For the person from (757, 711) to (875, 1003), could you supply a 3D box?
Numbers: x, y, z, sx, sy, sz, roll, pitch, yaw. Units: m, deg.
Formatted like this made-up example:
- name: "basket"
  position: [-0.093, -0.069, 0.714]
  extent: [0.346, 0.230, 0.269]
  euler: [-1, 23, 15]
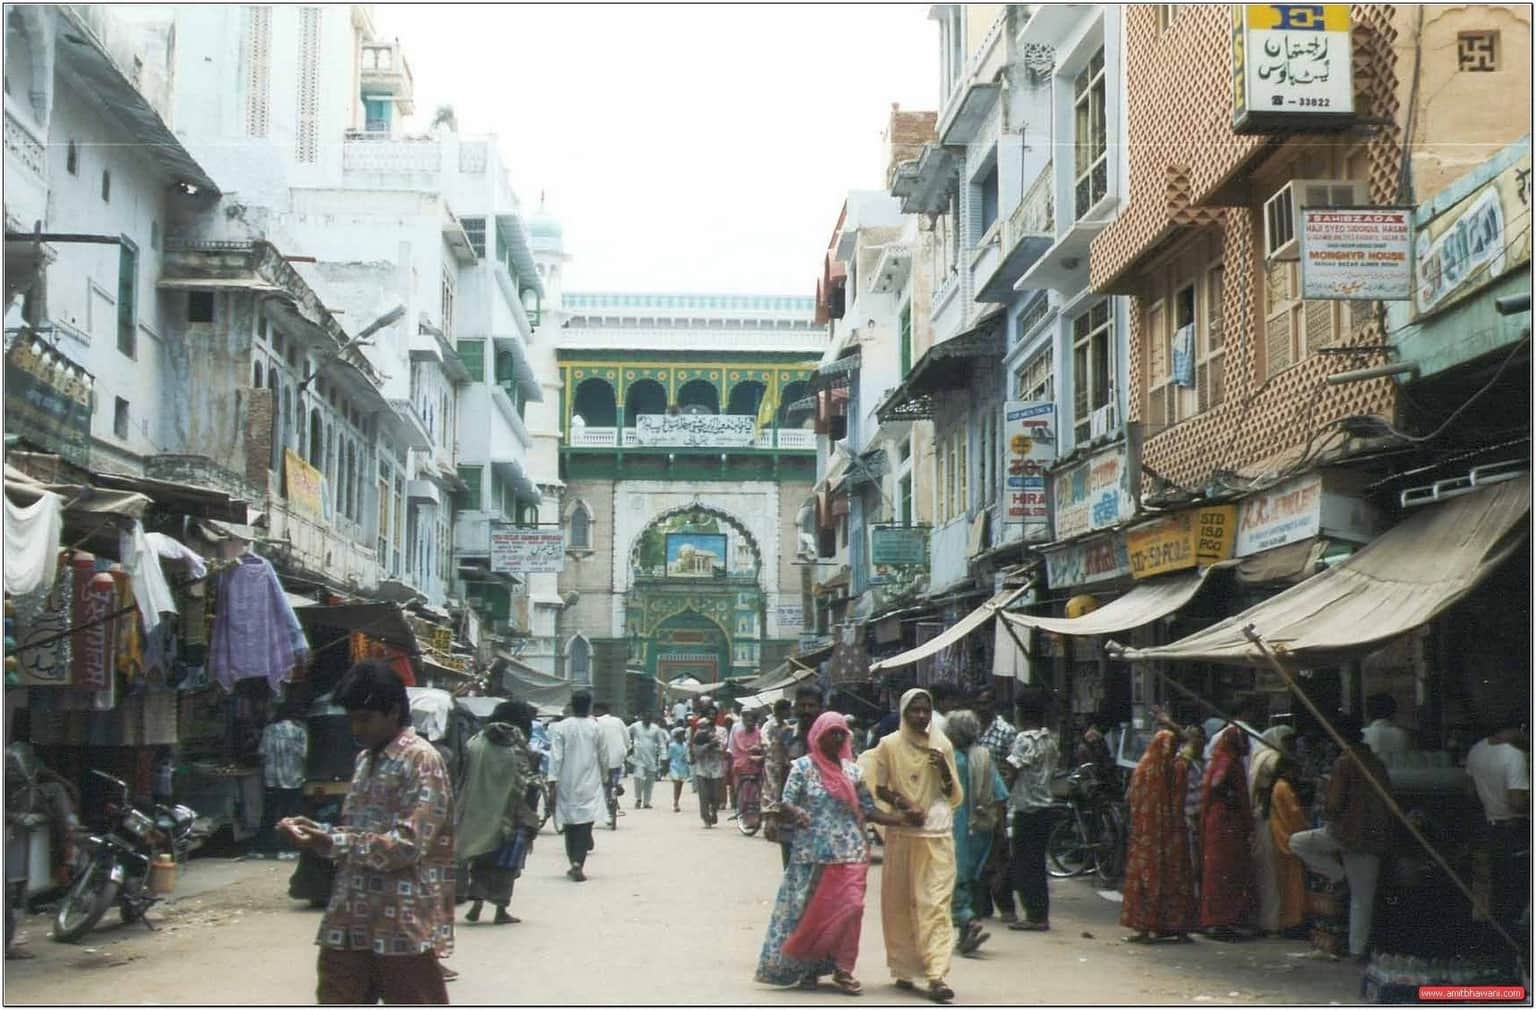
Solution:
- name: "person"
  position: [0.509, 3.181, 22.171]
  extent: [1.002, 2.638, 0.556]
  euler: [3, -16, -2]

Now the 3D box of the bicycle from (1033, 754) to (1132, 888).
- name: "bicycle"
  position: [3.707, 3.637, 27.445]
  extent: [0.823, 1.022, 1.494]
  euler: [6, -10, -31]

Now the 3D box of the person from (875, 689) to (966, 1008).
- name: "person"
  position: [1.368, 3.162, 22.178]
  extent: [0.828, 2.947, 0.605]
  euler: [1, -16, 4]

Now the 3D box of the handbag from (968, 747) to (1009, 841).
- name: "handbag"
  position: [2.193, 2.825, 23.741]
  extent: [0.297, 0.763, 0.639]
  euler: [-6, -19, 28]
